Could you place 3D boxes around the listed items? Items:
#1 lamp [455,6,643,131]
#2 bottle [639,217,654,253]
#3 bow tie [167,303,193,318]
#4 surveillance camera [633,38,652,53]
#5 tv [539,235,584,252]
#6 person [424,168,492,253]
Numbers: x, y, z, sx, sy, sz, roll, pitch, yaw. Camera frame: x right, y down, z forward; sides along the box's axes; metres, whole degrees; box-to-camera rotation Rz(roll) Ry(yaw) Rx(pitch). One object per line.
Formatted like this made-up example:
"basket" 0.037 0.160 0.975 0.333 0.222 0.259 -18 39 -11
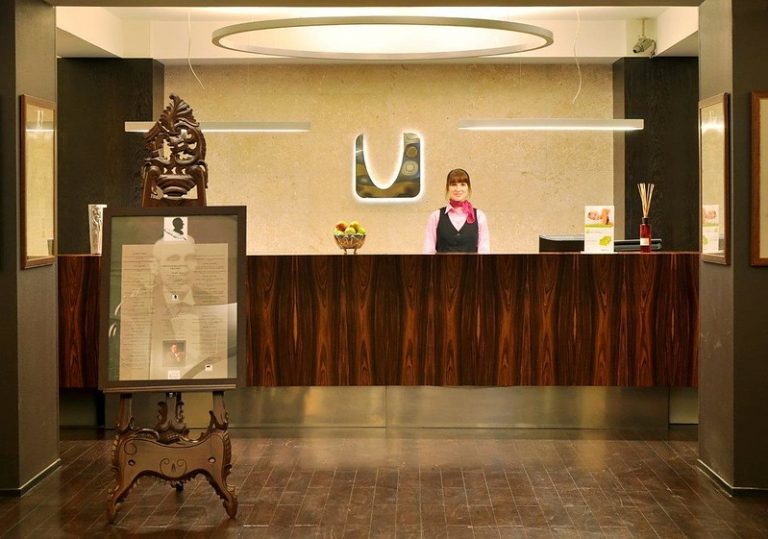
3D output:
"lamp" 1.725 -1.736 7.697 1.674 1.191 1.661 1 1 -23
"bottle" 2.294 -0.310 6.000 0.076 0.295 0.153 2 9 15
"bow tie" -1.406 0.284 4.728 0.186 0.100 0.025 0 9 1
"surveillance camera" 3.134 -2.681 8.251 0.206 0.161 0.108 -32 1 23
"tv" 1.690 -0.229 6.468 0.289 0.191 0.596 0 10 2
"person" 0.746 -0.601 7.083 0.651 0.840 0.383 1 9 7
